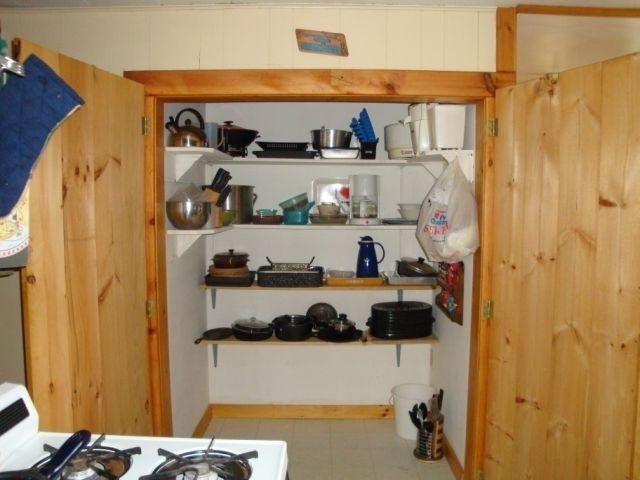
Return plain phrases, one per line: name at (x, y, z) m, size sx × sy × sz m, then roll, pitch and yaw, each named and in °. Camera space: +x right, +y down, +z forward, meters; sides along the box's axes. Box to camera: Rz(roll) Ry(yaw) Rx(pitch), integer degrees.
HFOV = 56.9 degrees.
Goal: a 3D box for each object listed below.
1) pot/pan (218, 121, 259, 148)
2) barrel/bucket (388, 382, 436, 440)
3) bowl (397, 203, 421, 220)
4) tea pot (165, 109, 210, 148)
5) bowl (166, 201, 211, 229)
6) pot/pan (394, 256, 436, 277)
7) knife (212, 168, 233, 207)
pot/pan at (-0.532, -0.663, 3.805) m, size 0.197 × 0.093 × 0.188 m, roll 1°, pitch 3°, yaw 13°
barrel/bucket at (0.620, 1.138, 3.965) m, size 0.301 × 0.260 × 0.310 m, roll 1°, pitch 8°, yaw 0°
bowl at (0.592, -0.187, 3.880) m, size 0.109 × 0.077 × 0.113 m, roll 0°, pitch 1°, yaw 0°
tea pot at (-0.778, -0.648, 3.481) m, size 0.202 × 0.273 × 0.288 m, roll 7°, pitch 6°, yaw 44°
bowl at (-0.744, -0.146, 3.293) m, size 0.174 × 0.113 × 0.181 m, roll 0°, pitch -2°, yaw 0°
pot/pan at (0.639, 0.152, 3.959) m, size 0.147 × 0.081 × 0.187 m, roll 9°, pitch 2°, yaw -21°
knife at (-0.602, -0.333, 3.582) m, size 0.074 × 0.294 × 0.088 m, roll 21°, pitch 10°, yaw 17°
